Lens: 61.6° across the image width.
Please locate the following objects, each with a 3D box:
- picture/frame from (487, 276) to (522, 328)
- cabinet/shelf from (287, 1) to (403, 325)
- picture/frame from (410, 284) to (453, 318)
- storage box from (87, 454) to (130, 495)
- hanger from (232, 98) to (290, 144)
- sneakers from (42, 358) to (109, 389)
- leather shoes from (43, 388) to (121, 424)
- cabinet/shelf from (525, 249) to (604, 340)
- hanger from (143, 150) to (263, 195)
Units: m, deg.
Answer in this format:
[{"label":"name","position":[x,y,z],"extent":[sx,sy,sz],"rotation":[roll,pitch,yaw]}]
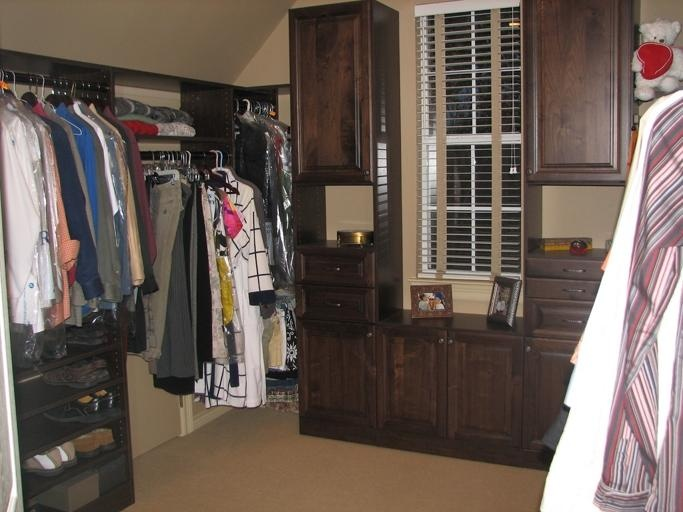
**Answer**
[{"label":"picture/frame","position":[0.988,0.276,3.448],"extent":[0.047,0.355,0.262],"rotation":[11,-2,-28]},{"label":"cabinet/shelf","position":[0.055,-0.592,3.631],"extent":[0.736,1.951,0.416],"rotation":[-2,7,-6]},{"label":"picture/frame","position":[0.571,0.281,3.639],"extent":[0.187,0.178,0.027],"rotation":[-1,-1,-2]},{"label":"storage box","position":[-1.204,1.116,2.971],"extent":[0.118,0.162,0.222],"rotation":[6,24,37]},{"label":"hanger","position":[-0.561,-0.939,3.878],"extent":[0.311,0.343,0.107],"rotation":[2,2,-26]},{"label":"sneakers","position":[-1.329,0.564,2.838],"extent":[0.285,0.134,0.113],"rotation":[4,3,-32]},{"label":"leather shoes","position":[-1.302,0.768,2.895],"extent":[0.224,0.090,0.175],"rotation":[2,1,20]},{"label":"cabinet/shelf","position":[1.219,0.174,3.365],"extent":[0.577,0.626,0.403],"rotation":[1,3,18]},{"label":"hanger","position":[-0.940,-0.557,3.505],"extent":[0.361,0.167,0.519],"rotation":[4,3,39]}]
